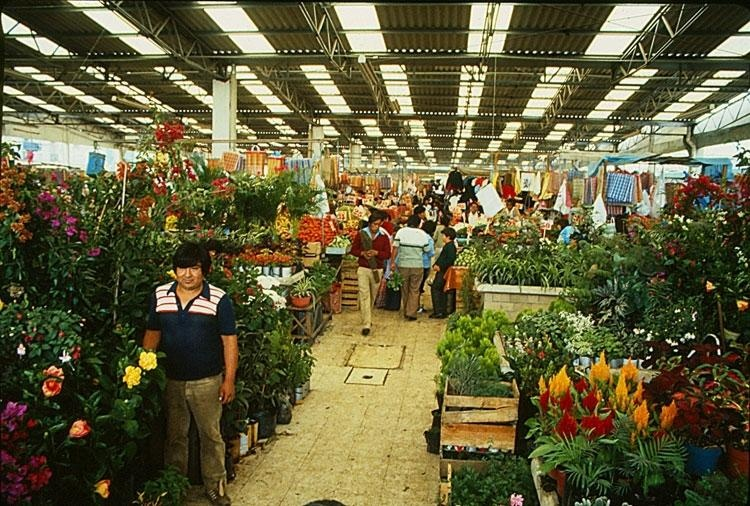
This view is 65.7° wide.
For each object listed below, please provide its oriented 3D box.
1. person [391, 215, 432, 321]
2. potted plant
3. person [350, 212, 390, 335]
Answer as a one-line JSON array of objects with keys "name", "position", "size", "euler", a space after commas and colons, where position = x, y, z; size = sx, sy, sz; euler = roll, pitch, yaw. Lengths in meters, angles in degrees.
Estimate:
[{"name": "person", "position": [0.645, 0.230, 9.886], "size": [0.608, 1.859, 0.519], "euler": [-2, 13, -6]}, {"name": "potted plant", "position": [0.898, 1.233, 4.924], "size": [0.696, 0.449, 1.064], "euler": [1, 16, 10]}, {"name": "person", "position": [-0.094, 0.269, 9.149], "size": [0.489, 1.898, 0.667], "euler": [13, 19, 43]}]
